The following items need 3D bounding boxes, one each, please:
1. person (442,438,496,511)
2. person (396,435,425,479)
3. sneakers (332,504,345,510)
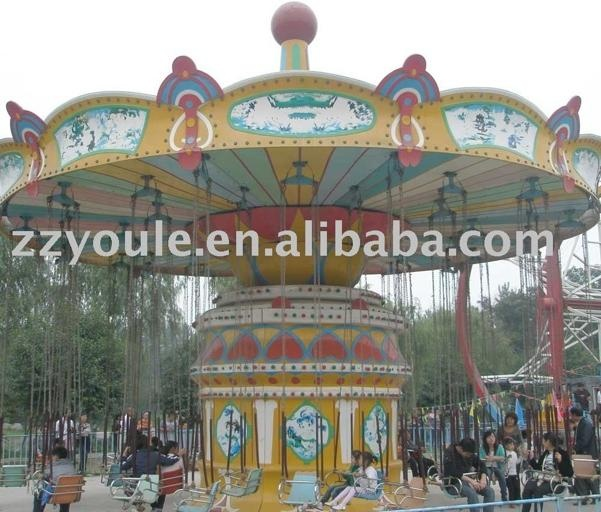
[{"bbox_3d":[2.594,3.355,13.189,0.669,1.124,0.899,-11,-18,31],"label":"person"},{"bbox_3d":[2.015,3.625,15.509,0.260,0.898,0.305,-13,4,0],"label":"person"},{"bbox_3d":[0.548,3.639,12.433,0.124,0.060,0.074,-2,-20,25],"label":"sneakers"}]
